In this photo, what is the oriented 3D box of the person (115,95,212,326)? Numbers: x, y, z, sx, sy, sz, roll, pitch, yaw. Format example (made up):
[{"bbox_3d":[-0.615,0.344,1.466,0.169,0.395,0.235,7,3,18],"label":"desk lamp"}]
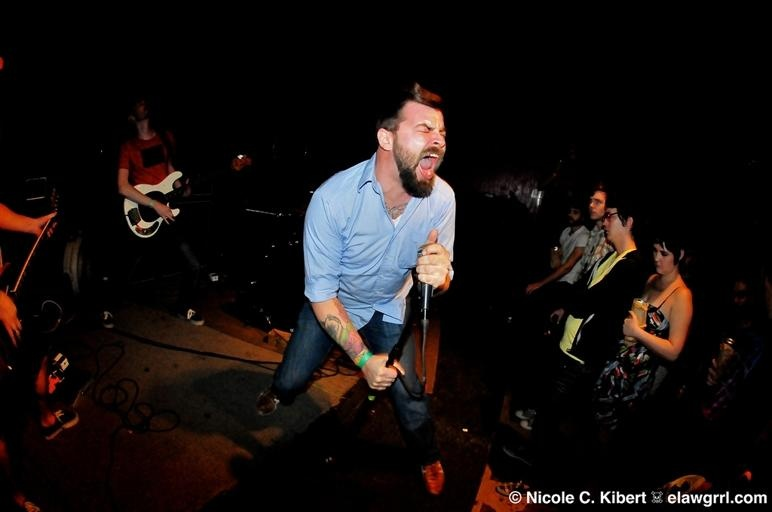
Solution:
[{"bbox_3d":[-2.803,-0.714,6.261,1.292,2.384,0.871,19,20,34],"label":"person"}]

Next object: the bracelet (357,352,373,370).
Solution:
[{"bbox_3d":[-0.192,0.887,4.122,0.061,0.115,0.147,52,36,-5],"label":"bracelet"}]

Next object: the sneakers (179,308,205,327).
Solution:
[{"bbox_3d":[-2.317,0.731,5.809,0.227,0.103,0.224,33,17,-27],"label":"sneakers"}]

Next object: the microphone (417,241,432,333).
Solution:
[{"bbox_3d":[0.310,0.301,3.953,0.125,0.637,0.112,0,12,-2],"label":"microphone"}]

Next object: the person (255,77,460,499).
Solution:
[{"bbox_3d":[-0.083,0.225,4.292,1.606,3.372,0.963,10,17,8],"label":"person"}]

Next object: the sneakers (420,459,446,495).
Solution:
[{"bbox_3d":[0.411,1.938,4.235,0.163,0.330,0.132,-7,7,13],"label":"sneakers"}]

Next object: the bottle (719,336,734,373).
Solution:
[{"bbox_3d":[2.957,0.837,4.176,0.057,0.249,0.110,2,17,-19],"label":"bottle"}]

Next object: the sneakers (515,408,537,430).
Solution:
[{"bbox_3d":[1.424,1.648,4.873,0.172,0.073,0.169,-8,56,-2],"label":"sneakers"}]

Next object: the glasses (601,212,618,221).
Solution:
[{"bbox_3d":[2.315,-0.400,4.968,0.160,0.048,0.153,-7,12,-12],"label":"glasses"}]

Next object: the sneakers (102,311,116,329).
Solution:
[{"bbox_3d":[-3.161,0.728,5.468,0.134,0.182,0.060,-16,6,-29],"label":"sneakers"}]

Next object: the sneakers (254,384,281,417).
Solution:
[{"bbox_3d":[-1.148,1.437,4.702,0.255,0.337,0.145,9,17,-16],"label":"sneakers"}]
